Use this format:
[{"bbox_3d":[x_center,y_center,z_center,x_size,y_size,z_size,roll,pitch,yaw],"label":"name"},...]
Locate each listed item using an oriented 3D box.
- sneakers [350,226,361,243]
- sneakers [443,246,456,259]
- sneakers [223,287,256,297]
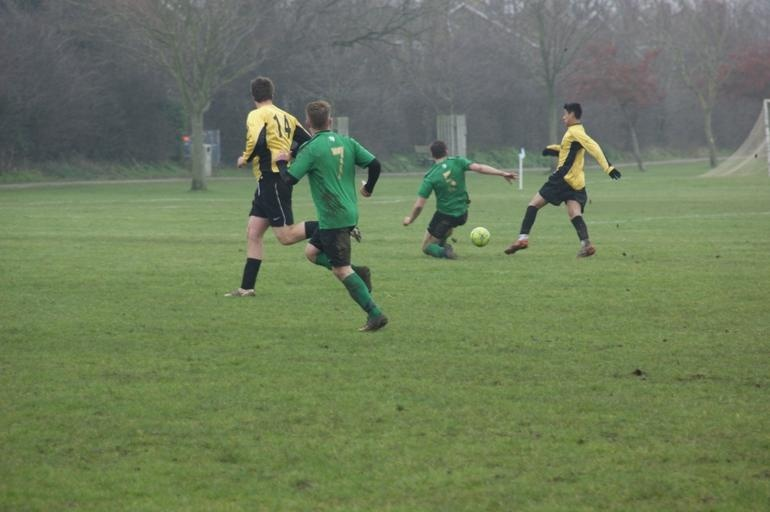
[{"bbox_3d":[-0.469,-0.368,17.396,0.139,0.176,0.451,-6,-9,2],"label":"sneakers"},{"bbox_3d":[1.220,-0.072,19.940,0.180,0.268,0.130,-26,-7,-24],"label":"sneakers"},{"bbox_3d":[-2.419,0.615,17.668,0.510,0.170,0.181,2,0,2],"label":"sneakers"}]
